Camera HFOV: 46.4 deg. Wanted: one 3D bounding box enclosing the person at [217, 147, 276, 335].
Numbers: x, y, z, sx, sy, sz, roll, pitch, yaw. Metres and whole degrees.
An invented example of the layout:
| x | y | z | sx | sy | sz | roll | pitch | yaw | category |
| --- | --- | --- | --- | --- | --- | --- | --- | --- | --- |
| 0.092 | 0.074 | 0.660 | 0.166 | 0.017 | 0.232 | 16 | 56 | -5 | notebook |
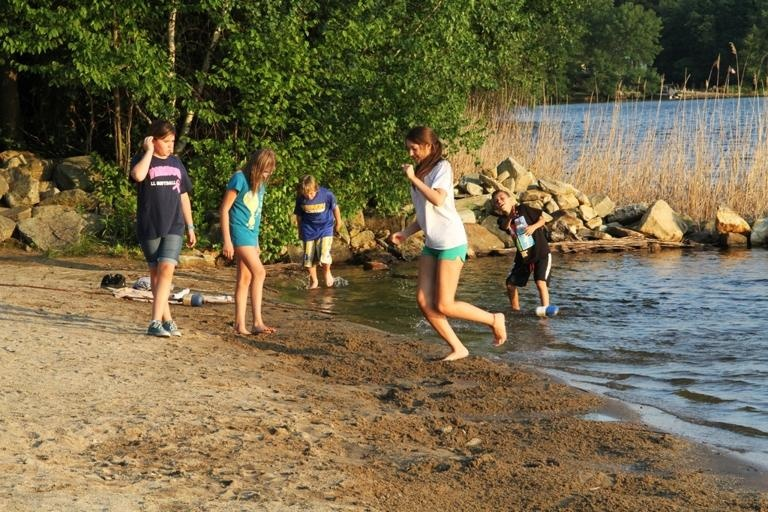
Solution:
| x | y | z | sx | sy | sz | roll | pitch | yaw | category |
| --- | --- | --- | --- | --- | --- | --- | --- | --- | --- |
| -1.995 | -0.172 | 13.203 | 0.712 | 2.778 | 0.925 | 2 | 6 | 2 | person |

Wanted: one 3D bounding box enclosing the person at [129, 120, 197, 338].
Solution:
| x | y | z | sx | sy | sz | roll | pitch | yaw | category |
| --- | --- | --- | --- | --- | --- | --- | --- | --- | --- |
| -3.152 | -0.360 | 12.660 | 0.871 | 3.057 | 0.570 | 1 | 6 | -12 | person |

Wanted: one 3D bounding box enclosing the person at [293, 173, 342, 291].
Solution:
| x | y | z | sx | sy | sz | roll | pitch | yaw | category |
| --- | --- | --- | --- | --- | --- | --- | --- | --- | --- |
| -1.356 | -0.482 | 17.763 | 0.849 | 2.167 | 0.943 | 1 | 6 | -7 | person |
